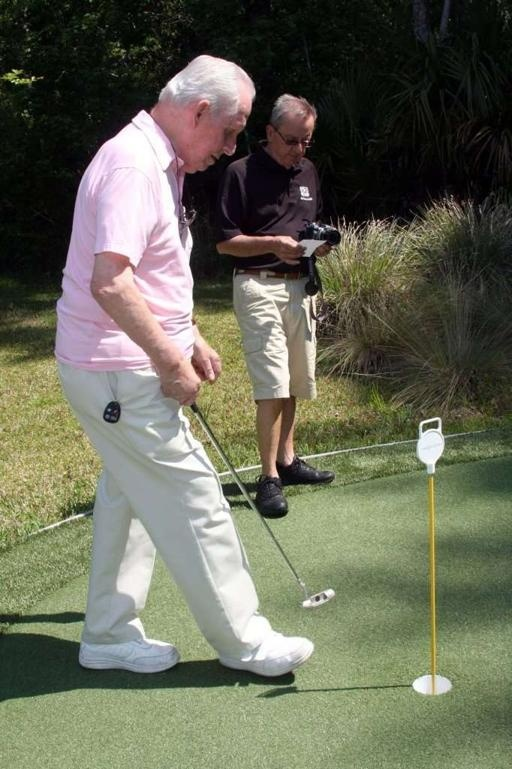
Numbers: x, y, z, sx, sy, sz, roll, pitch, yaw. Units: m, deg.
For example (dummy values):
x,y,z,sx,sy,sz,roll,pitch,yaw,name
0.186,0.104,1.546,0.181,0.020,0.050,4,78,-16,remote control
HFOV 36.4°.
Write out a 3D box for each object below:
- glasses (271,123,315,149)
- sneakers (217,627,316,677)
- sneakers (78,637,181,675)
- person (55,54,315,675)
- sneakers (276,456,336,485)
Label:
x,y,z,sx,sy,sz,roll,pitch,yaw,name
0.148,-1.087,3.435,0.135,0.040,0.134,-9,45,-39,glasses
0.030,0.730,2.128,0.234,0.097,0.105,-6,3,17,sneakers
-0.348,0.749,2.214,0.283,0.119,0.100,0,4,5,sneakers
-0.261,-0.012,2.039,0.675,1.644,0.455,-6,13,1,person
0.232,0.415,3.682,0.286,0.121,0.107,0,4,-2,sneakers
